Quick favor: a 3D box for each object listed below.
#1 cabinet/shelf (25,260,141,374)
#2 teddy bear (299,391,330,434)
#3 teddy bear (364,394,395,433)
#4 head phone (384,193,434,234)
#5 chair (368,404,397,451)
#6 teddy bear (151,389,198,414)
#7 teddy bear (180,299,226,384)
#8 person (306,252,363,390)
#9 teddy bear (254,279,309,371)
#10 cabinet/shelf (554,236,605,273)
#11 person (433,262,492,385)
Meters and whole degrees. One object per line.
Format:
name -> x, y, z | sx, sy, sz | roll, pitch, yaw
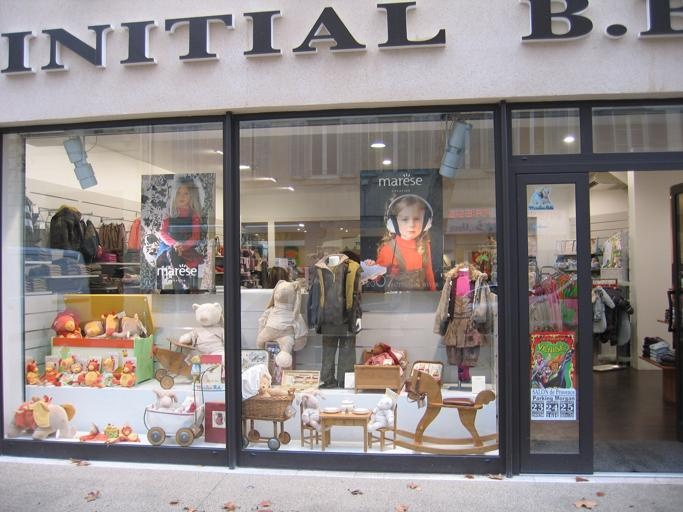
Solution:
cabinet/shelf -> -2.685, 0.676, 6.568 | 1.021, 1.062, 0.383 | -1, -6, -1
teddy bear -> -0.323, 1.519, 6.167 | 0.344, 0.480, 0.266 | 5, -27, -20
teddy bear -> 0.400, 1.490, 6.028 | 0.258, 0.381, 0.281 | 9, -11, -12
head phone -> 0.655, -0.392, 6.318 | 0.395, 0.395, 0.258 | -1, 3, 5
chair -> 0.388, 1.615, 6.035 | 0.276, 0.420, 0.200 | 0, 9, 4
teddy bear -> -1.648, 1.447, 6.238 | 0.304, 0.141, 0.226 | 7, -11, -1
teddy bear -> -1.390, 0.824, 6.331 | 0.586, 0.737, 0.178 | 6, 10, 34
person -> -0.075, 0.604, 6.337 | 0.473, 1.348, 0.458 | 1, 3, 11
teddy bear -> -0.605, 0.691, 6.349 | 0.498, 0.835, 0.204 | -2, 9, -10
cabinet/shelf -> 2.230, 0.054, 5.941 | 0.403, 0.393, 0.225 | -2, -12, 37
person -> 1.192, 0.623, 6.084 | 0.469, 1.089, 0.461 | 1, 3, 16
